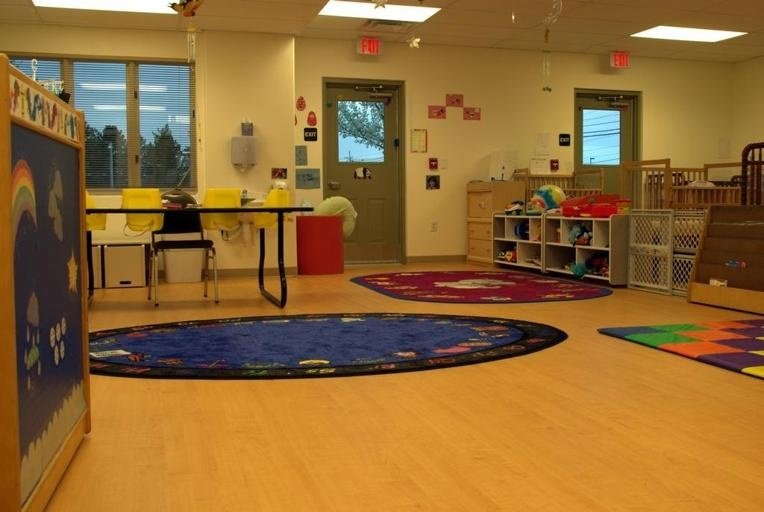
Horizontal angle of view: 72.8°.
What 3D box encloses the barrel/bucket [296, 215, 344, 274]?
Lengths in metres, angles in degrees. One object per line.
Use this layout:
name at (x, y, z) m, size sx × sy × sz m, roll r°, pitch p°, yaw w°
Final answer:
barrel/bucket at (-0.722, -0.144, 7.098) m, size 0.847 × 0.759 × 0.757 m, roll -1°, pitch 2°, yaw -6°
